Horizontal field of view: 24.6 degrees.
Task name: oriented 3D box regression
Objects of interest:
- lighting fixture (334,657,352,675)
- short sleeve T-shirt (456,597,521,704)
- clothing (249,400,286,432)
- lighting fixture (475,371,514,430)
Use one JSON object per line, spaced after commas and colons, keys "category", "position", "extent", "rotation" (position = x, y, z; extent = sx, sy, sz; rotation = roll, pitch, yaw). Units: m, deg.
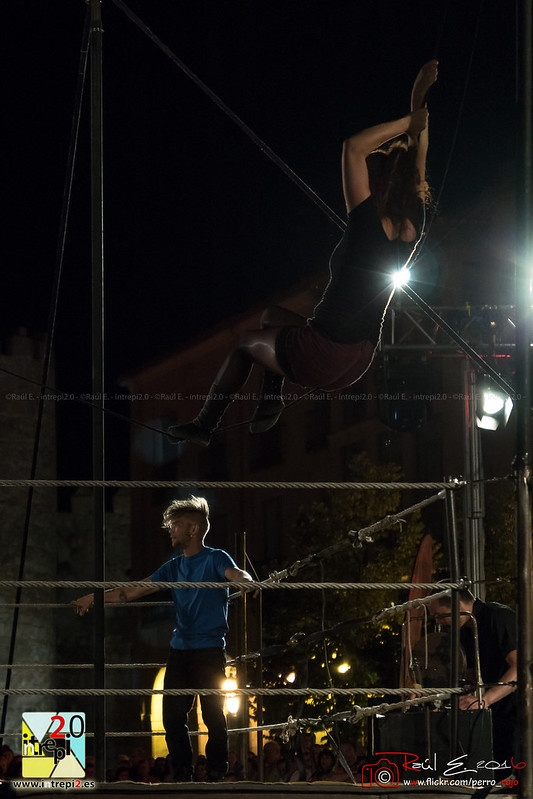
{"category": "lighting fixture", "position": [1.448, 4.936, 22.746], "extent": [0.269, 0.234, 0.438], "rotation": [-23, -18, -2]}
{"category": "short sleeve T-shirt", "position": [1.627, 1.833, 8.908], "extent": [0.407, 0.736, 0.591], "rotation": [-13, -4, -20]}
{"category": "clothing", "position": [0.016, 0.105, 8.026], "extent": [0.115, 0.337, 0.146], "rotation": [34, 1, 2]}
{"category": "lighting fixture", "position": [2.454, 0.022, 13.362], "extent": [0.418, 0.481, 0.576], "rotation": [-13, -55, -20]}
